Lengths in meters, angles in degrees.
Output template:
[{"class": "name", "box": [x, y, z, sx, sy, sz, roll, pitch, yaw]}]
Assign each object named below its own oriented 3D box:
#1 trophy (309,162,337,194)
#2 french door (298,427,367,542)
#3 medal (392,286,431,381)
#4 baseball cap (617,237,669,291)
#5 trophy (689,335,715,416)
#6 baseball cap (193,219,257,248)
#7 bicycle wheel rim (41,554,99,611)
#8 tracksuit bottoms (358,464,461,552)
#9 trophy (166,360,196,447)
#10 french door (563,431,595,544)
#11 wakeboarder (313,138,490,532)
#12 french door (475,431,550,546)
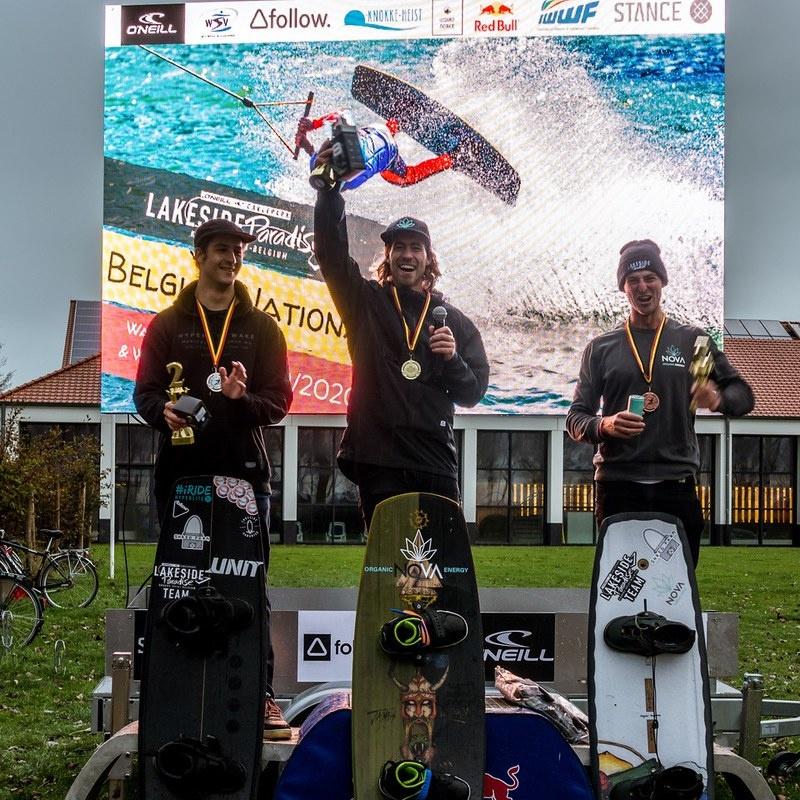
[{"class": "trophy", "box": [-0.338, -0.968, 4.551, 0.125, 0.099, 0.105, 2, -6, -7]}, {"class": "french door", "box": [-1.381, 1.549, 18.002, 0.052, 1.839, 1.464, -16, -17, 40]}, {"class": "medal", "box": [0.047, -0.297, 4.802, 0.175, 0.016, 0.521, 1, -50, 1]}, {"class": "baseball cap", "box": [1.190, -0.692, 5.194, 0.216, 0.257, 0.252, -3, -11, 9]}, {"class": "trophy", "box": [1.458, -0.122, 5.093, 0.090, 0.351, 0.330, 0, -9, 18]}, {"class": "baseball cap", "box": [-0.835, -0.743, 4.725, 0.200, 0.081, 0.154, -6, -7, 33]}, {"class": "bicycle wheel rim", "box": [-3.373, 1.813, 10.590, 0.878, 0.609, 0.224, -15, -8, 35]}, {"class": "tracksuit bottoms", "box": [0.029, 0.464, 4.498, 0.331, 0.362, 0.035, -2, -2, -11]}, {"class": "trophy", "box": [-0.974, 0.019, 4.599, 0.116, 0.365, 0.284, 3, -6, -23]}, {"class": "french door", "box": [3.128, 1.573, 18.291, 0.644, 0.249, 2.959, -1, -48, 7]}, {"class": "wakeboarder", "box": [-0.001, -0.363, 4.761, 0.790, 1.896, 0.685, 0, -5, 3]}, {"class": "french door", "box": [1.897, 1.640, 18.310, 1.316, 2.127, 0.094, 0, 22, 4]}]
